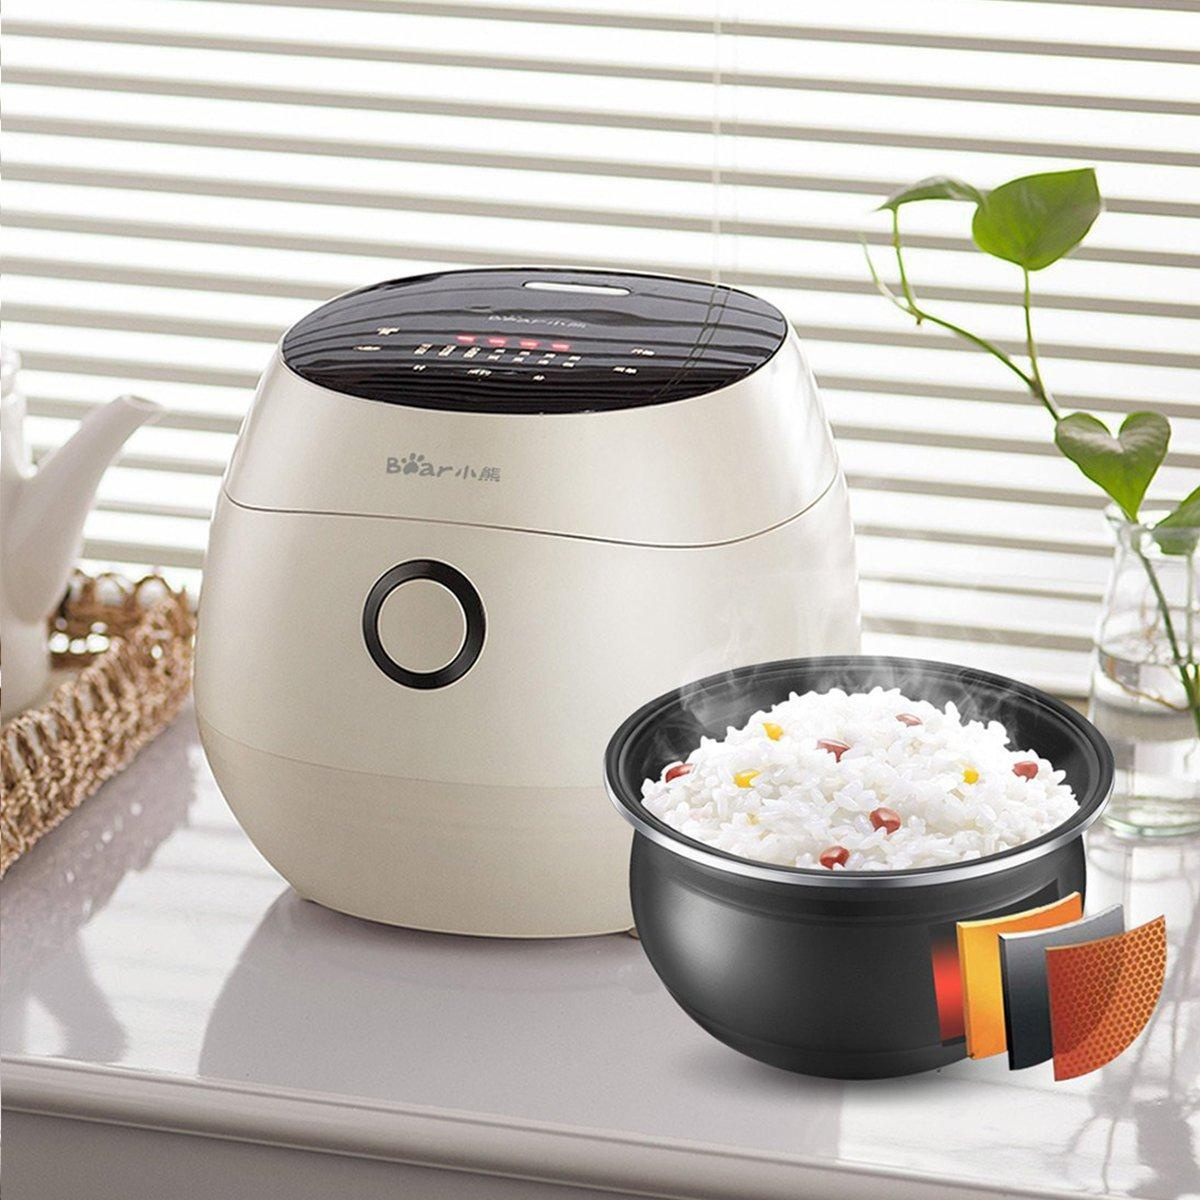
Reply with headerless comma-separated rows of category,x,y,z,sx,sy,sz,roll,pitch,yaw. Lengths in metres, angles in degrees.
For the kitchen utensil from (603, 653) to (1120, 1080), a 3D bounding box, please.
kitchen utensil,0.108,0.131,0.649,0.267,0.113,0.212,1,15,2
